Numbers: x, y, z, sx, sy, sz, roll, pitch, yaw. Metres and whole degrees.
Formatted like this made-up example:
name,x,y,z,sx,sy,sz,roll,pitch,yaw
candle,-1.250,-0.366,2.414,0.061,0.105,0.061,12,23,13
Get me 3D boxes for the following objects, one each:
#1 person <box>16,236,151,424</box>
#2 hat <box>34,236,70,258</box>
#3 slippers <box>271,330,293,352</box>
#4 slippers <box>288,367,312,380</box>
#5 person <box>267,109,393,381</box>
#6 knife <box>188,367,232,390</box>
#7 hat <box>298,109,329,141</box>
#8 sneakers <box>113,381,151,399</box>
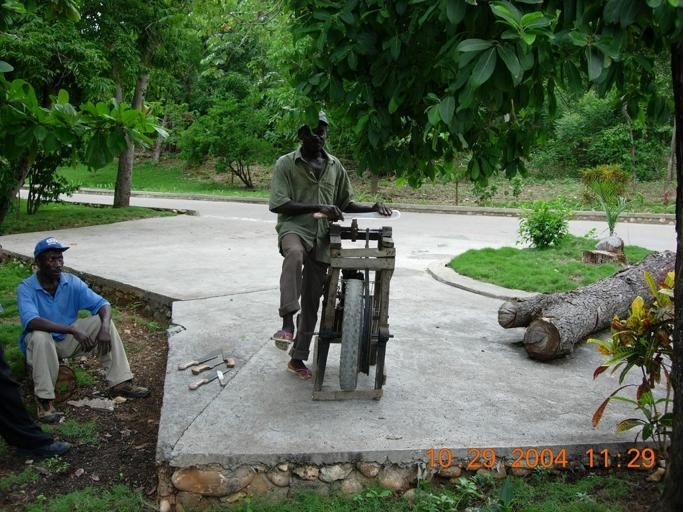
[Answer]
name,x,y,z,sx,sy,sz,roll,pitch,yaw
person,-2.446,0.621,5.064,1.162,1.544,1.104,1,5,-8
hat,-2.712,-0.100,5.065,0.221,0.153,0.235,-2,14,-19
slippers,-0.552,0.796,5.085,0.123,0.117,0.277,16,-21,0
slippers,-0.406,1.157,5.411,0.201,0.084,0.107,7,6,33
person,-0.312,-0.064,5.302,0.868,2.633,1.193,10,16,31
knife,-1.274,1.186,5.267,0.115,0.031,0.402,13,10,17
hat,-0.273,-1.227,5.094,0.272,0.281,0.444,1,13,-4
sneakers,-2.075,1.311,5.415,0.376,0.169,0.154,0,5,-5
